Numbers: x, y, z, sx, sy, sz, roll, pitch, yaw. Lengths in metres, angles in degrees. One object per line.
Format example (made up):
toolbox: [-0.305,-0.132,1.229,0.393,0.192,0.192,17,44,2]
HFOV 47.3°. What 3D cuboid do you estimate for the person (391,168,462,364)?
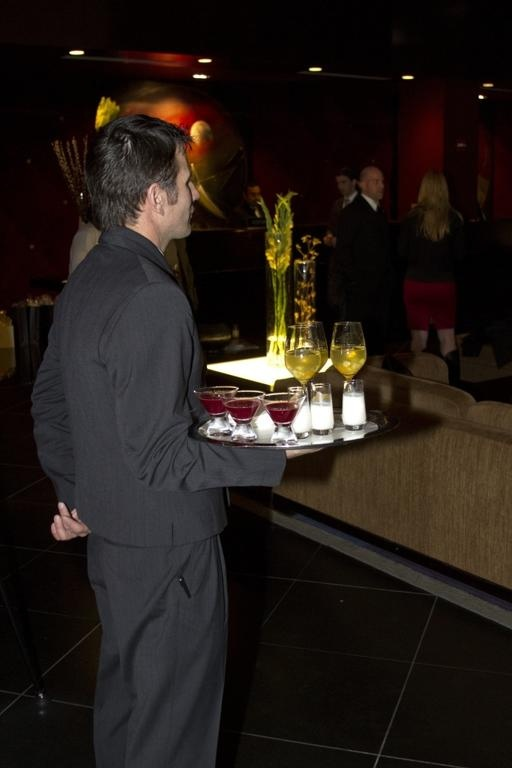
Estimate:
person: [1.505,-1.027,5.064,0.389,1.496,0.445,-6,9,-29]

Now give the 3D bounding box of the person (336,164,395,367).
person: [0.857,-0.866,4.651,0.478,1.269,0.337,-1,8,2]
